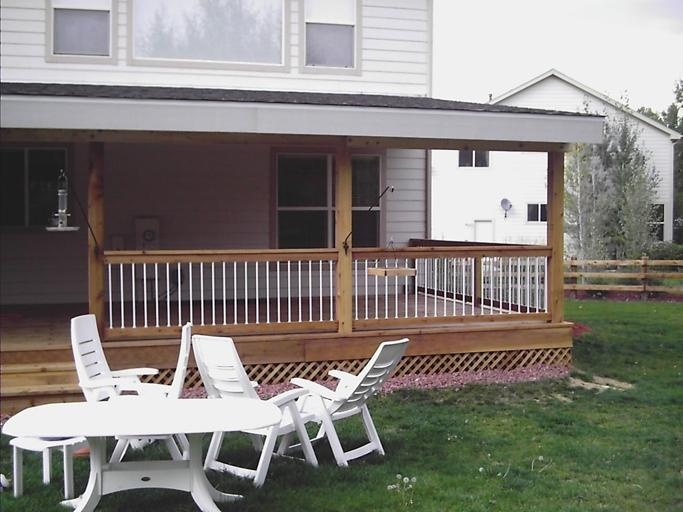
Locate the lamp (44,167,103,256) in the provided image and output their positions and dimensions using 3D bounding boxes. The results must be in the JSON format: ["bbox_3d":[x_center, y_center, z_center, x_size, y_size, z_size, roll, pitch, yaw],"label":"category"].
[{"bbox_3d":[-4.471,-0.658,12.794,0.822,1.459,0.399,-3,-18,-18],"label":"lamp"}]
